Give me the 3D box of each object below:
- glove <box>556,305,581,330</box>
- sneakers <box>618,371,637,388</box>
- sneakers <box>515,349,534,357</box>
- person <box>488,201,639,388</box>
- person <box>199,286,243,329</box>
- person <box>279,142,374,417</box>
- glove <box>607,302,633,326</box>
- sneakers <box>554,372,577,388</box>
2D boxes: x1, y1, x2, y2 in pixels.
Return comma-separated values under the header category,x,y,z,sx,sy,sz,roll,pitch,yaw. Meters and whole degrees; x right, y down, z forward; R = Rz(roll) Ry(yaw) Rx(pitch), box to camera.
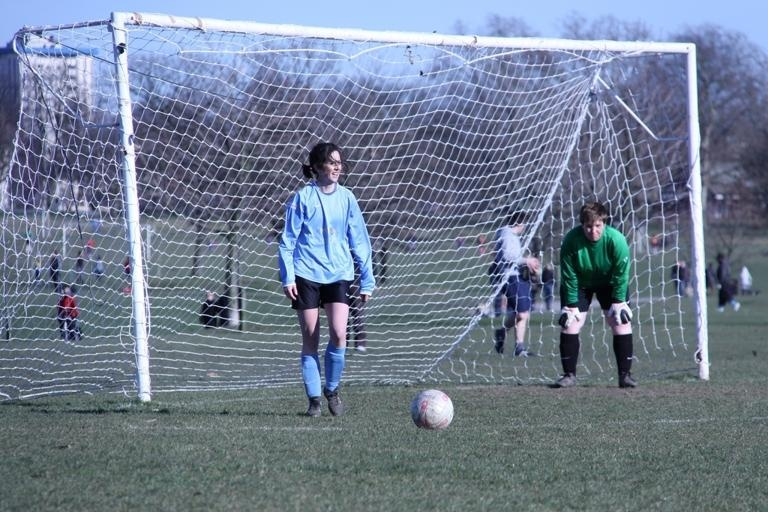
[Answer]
category,x,y,z,sx,sy,sz,roll,pitch,yaw
glove,2.162,0.764,11.614,0.106,0.258,0.259,20,29,41
sneakers,2.919,1.504,11.641,0.244,0.252,0.128,-5,-5,32
sneakers,2.036,1.441,14.228,0.196,0.069,0.143,-1,0,-5
person,2.554,0.470,11.593,0.939,2.237,0.601,2,6,13
person,-2.953,0.925,17.355,0.176,0.731,0.752,0,5,-40
person,-0.650,0.247,10.684,1.049,2.976,0.584,0,6,-7
glove,2.810,0.691,11.540,0.256,0.259,0.090,-30,21,-37
sneakers,2.204,1.515,11.746,0.264,0.139,0.119,-13,16,-39
